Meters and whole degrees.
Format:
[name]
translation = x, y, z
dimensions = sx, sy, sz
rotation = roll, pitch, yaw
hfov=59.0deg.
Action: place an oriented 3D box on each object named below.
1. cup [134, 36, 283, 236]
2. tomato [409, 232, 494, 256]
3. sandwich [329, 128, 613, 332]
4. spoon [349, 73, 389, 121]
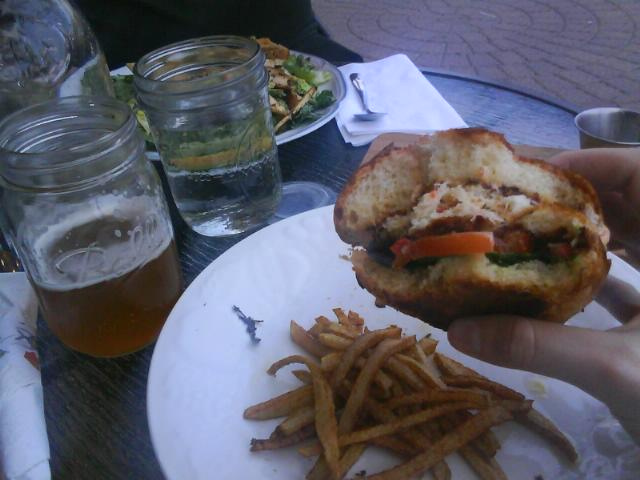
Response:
[cup]
translation = -0.186, -0.182, 1.000
dimensions = 0.208, 0.311, 0.188
rotation = -12, 36, -9
[tomato]
translation = 0.163, 0.007, 0.704
dimensions = 0.100, 0.031, 0.020
rotation = -1, 53, 6
[sandwich]
translation = 0.198, -0.018, 0.709
dimensions = 0.307, 0.127, 0.268
rotation = -8, 95, 17
[spoon]
translation = 0.094, -0.308, 1.231
dimensions = 0.105, 0.113, 0.122
rotation = -1, 29, 3
